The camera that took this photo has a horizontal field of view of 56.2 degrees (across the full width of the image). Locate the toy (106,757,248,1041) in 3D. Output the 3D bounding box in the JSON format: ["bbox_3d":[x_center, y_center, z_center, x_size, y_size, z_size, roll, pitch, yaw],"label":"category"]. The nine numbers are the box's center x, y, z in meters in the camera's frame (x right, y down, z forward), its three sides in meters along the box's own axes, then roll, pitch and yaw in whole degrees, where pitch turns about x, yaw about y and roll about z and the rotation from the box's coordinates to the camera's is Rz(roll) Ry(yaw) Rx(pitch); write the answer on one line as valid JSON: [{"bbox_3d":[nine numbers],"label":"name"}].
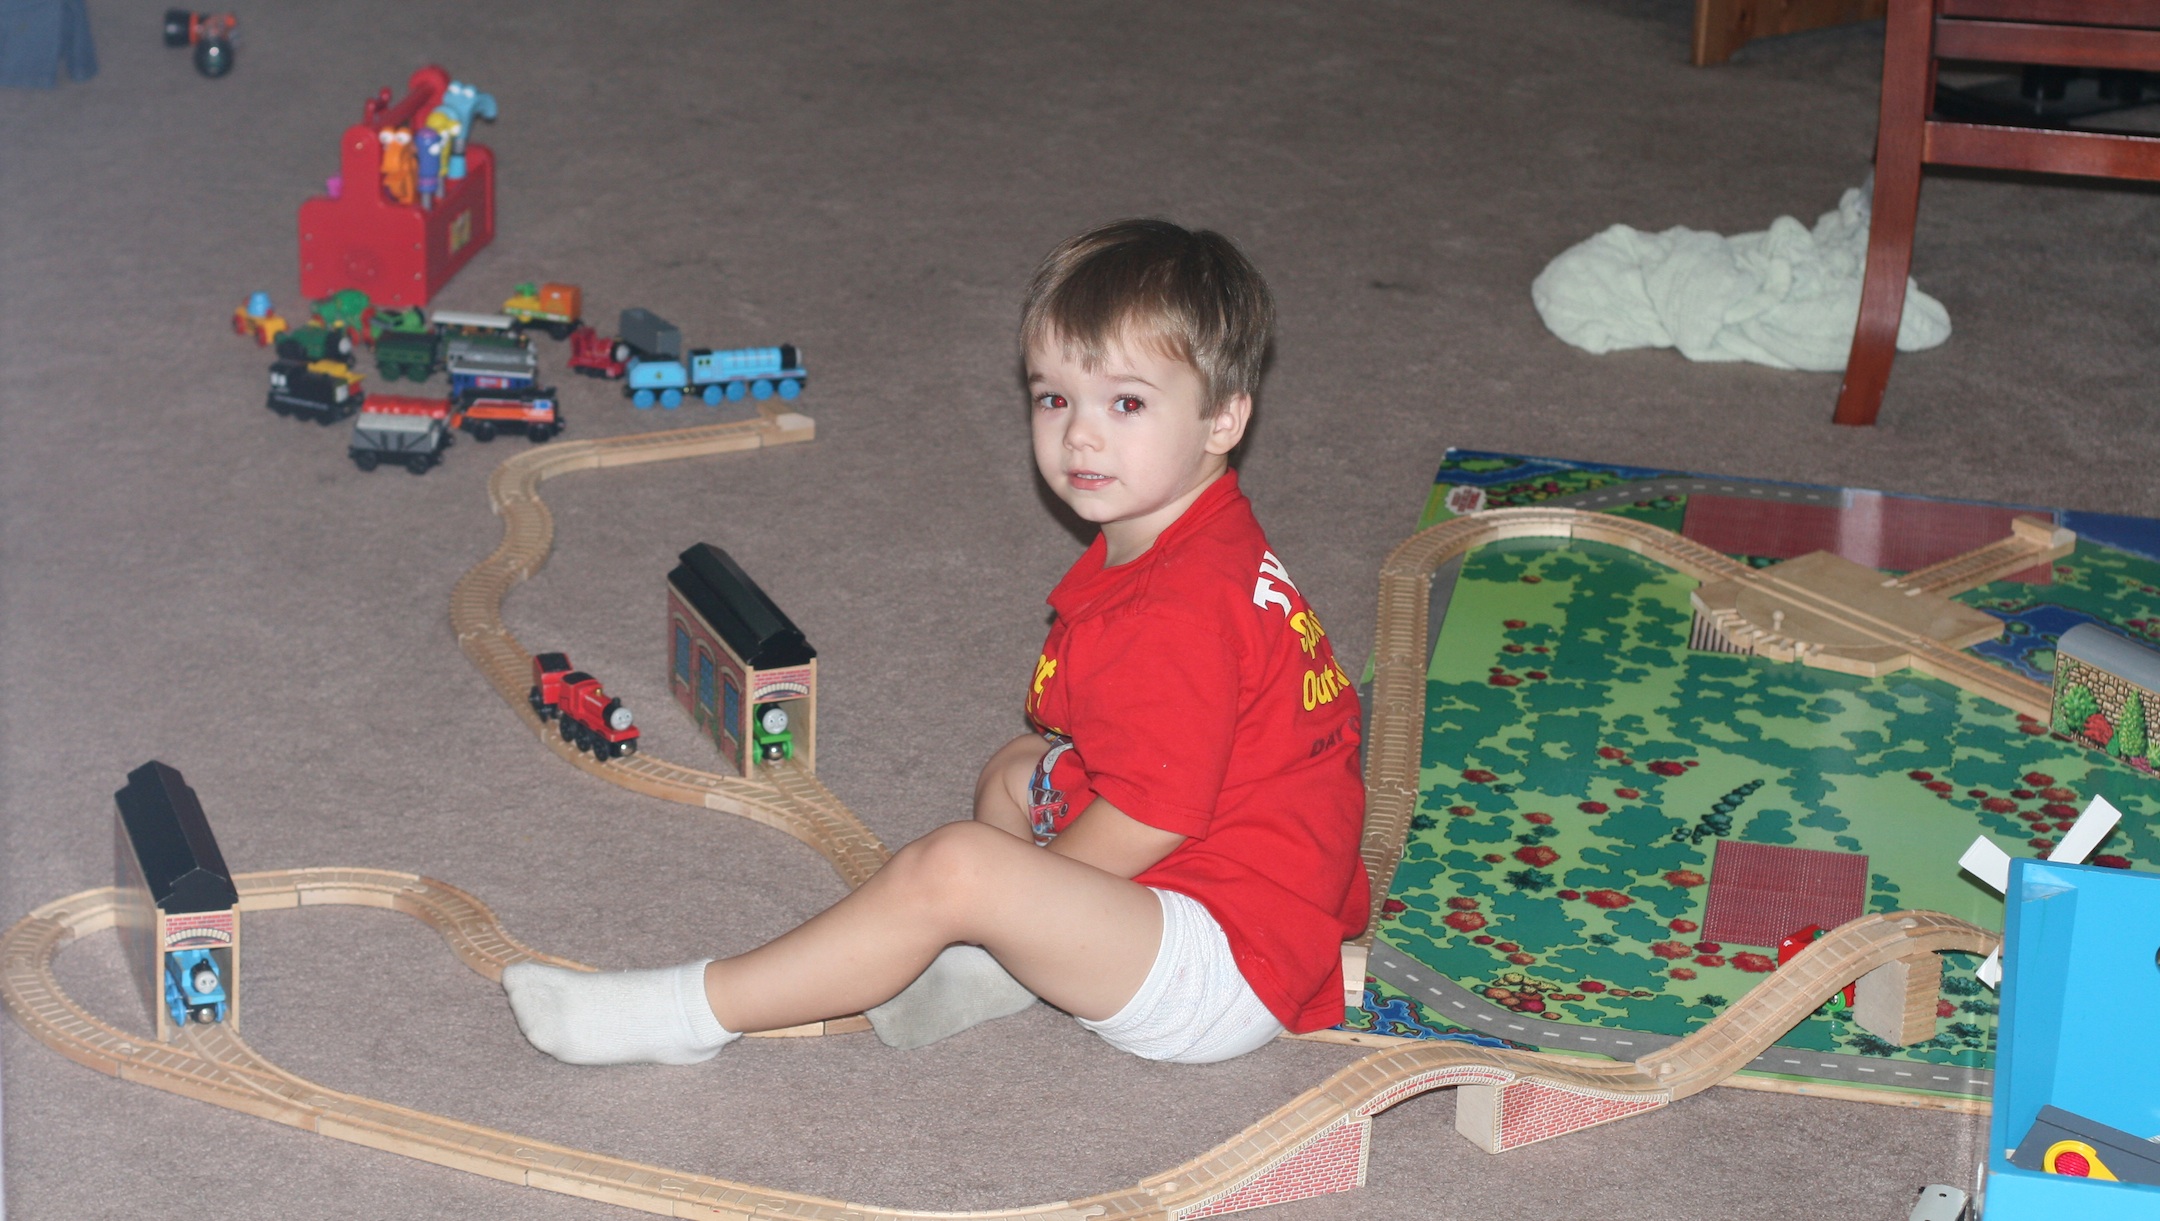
[{"bbox_3d":[-1.290,0.426,2.887,0.148,0.244,0.351,-5,29,-20],"label":"toy"}]

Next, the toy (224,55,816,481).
[{"bbox_3d":[-1.196,-0.591,4.249,1.255,0.416,0.940,9,37,-5],"label":"toy"}]

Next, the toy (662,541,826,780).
[{"bbox_3d":[-0.556,0.096,3.332,0.158,0.245,0.372,-12,32,-22],"label":"toy"}]

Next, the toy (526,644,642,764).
[{"bbox_3d":[-0.820,0.143,3.342,0.291,0.109,0.096,30,39,35],"label":"toy"}]
